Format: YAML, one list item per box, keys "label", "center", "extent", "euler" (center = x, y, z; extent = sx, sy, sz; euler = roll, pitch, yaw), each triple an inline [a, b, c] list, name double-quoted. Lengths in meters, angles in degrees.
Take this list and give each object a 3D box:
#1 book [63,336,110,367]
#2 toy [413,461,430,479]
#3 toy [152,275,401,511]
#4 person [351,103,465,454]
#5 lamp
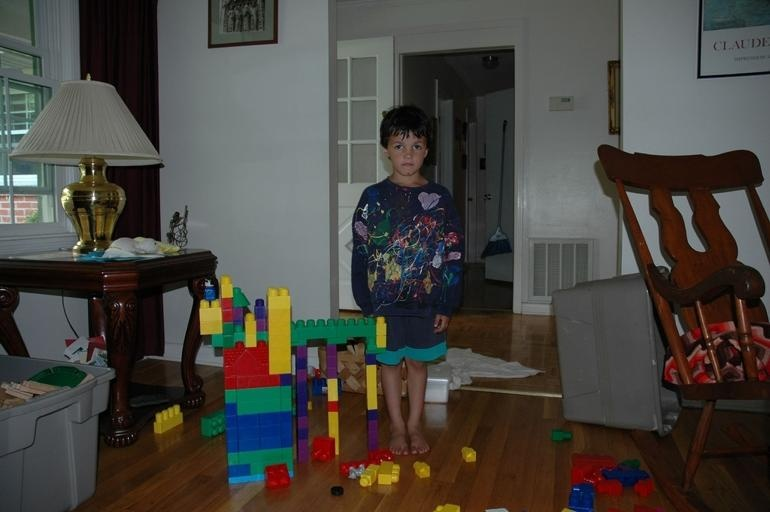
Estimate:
- label: "book"
  center: [-1.573, 0.505, 2.946]
  extent: [0.207, 0.218, 0.053]
  euler: [-4, -20, 5]
- label: "toy"
  center: [0.158, 0.942, 2.483]
  extent: [0.061, 0.059, 0.102]
  euler: [0, -2, -17]
- label: "toy"
  center: [-0.454, 0.503, 2.624]
  extent: [0.767, 0.902, 0.532]
  euler: [-4, 10, -20]
- label: "person"
  center: [0.107, 0.142, 2.807]
  extent: [0.547, 1.721, 0.370]
  euler: [0, 14, -4]
- label: "lamp"
  center: [-1.569, -0.378, 3.212]
  extent: [0.812, 1.133, 0.850]
  euler: [-2, -3, 20]
